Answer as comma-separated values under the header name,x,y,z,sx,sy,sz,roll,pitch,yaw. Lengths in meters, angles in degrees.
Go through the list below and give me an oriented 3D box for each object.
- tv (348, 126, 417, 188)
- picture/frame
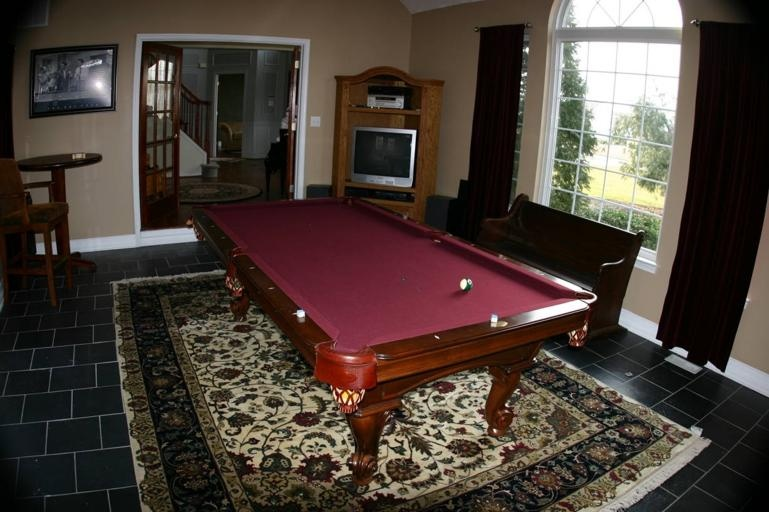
name,x,y,z,sx,sy,sz,roll,pitch,yaw
tv,0.044,-1.445,7.918,1.324,1.109,0.759,3,12,5
picture/frame,-3.877,-2.195,6.537,0.964,0.721,0.042,-5,15,-30
